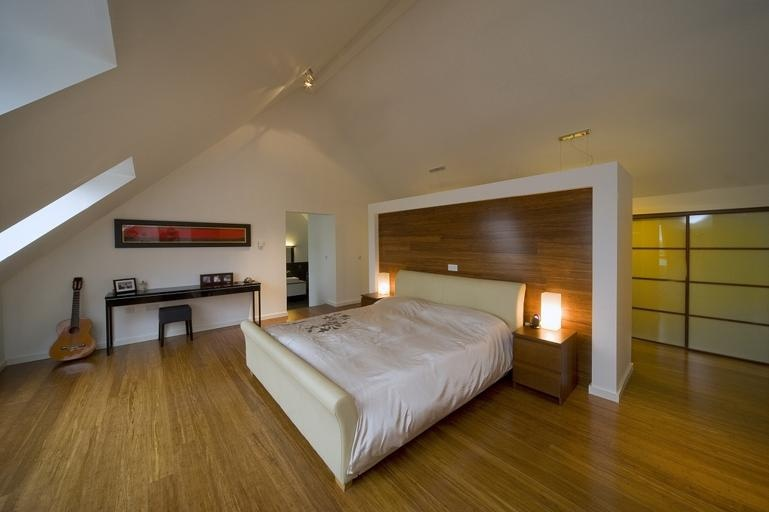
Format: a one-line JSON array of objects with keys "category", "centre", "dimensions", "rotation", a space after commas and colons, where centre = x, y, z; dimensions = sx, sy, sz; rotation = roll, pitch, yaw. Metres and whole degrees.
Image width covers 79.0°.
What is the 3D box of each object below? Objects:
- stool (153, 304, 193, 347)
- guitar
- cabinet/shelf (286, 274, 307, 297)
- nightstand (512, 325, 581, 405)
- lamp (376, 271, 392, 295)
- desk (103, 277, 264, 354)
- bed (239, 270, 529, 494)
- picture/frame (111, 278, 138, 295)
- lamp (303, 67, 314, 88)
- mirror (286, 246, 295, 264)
[{"category": "stool", "centre": [-3.130, 1.040, 6.947], "dimensions": [0.523, 0.572, 0.518], "rotation": [-3, -2, 43]}, {"category": "guitar", "centre": [-4.272, 0.864, 6.335], "dimensions": [0.508, 1.064, 0.414], "rotation": [-10, 15, -38]}, {"category": "cabinet/shelf", "centre": [-1.882, 0.647, 9.950], "dimensions": [0.376, 0.216, 0.420], "rotation": [-6, 9, -39]}, {"category": "nightstand", "centre": [1.903, 1.257, 5.582], "dimensions": [0.523, 0.683, 0.658], "rotation": [-13, 13, -43]}, {"category": "lamp", "centre": [0.002, 0.445, 7.406], "dimensions": [0.282, 0.482, 0.295], "rotation": [0, 1, -24]}, {"category": "desk", "centre": [-2.998, 0.886, 7.281], "dimensions": [2.290, 0.929, 0.477], "rotation": [-4, 13, -37]}, {"category": "bed", "centre": [0.283, 1.343, 5.297], "dimensions": [2.426, 1.080, 2.417], "rotation": [-7, 10, -34]}, {"category": "picture/frame", "centre": [-3.713, 0.433, 6.723], "dimensions": [0.313, 0.188, 0.269], "rotation": [-7, 13, -29]}, {"category": "lamp", "centre": [-0.908, -2.174, 5.663], "dimensions": [0.093, 0.064, 0.167], "rotation": [0, -40, -14]}, {"category": "mirror", "centre": [-2.074, -0.043, 10.463], "dimensions": [0.231, 0.348, 0.082], "rotation": [-11, 16, -41]}]
